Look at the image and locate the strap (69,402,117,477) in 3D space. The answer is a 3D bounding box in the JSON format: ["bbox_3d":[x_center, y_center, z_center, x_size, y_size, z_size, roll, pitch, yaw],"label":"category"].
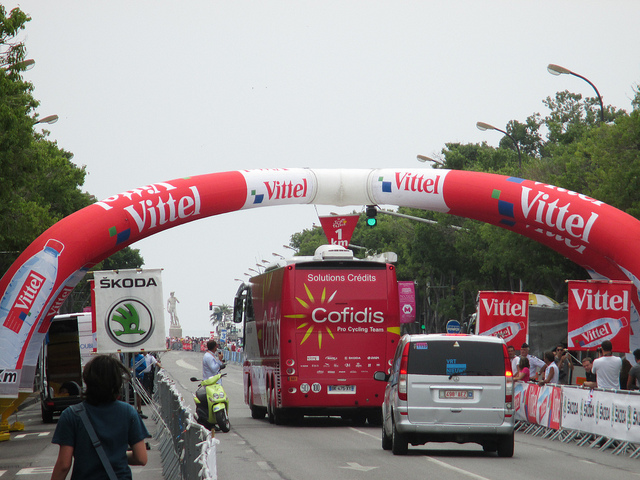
[{"bbox_3d":[-1.634,1.462,5.035,0.070,0.527,0.072,-17,-4,-21],"label":"strap"}]

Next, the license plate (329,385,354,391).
[{"bbox_3d":[0.589,4.020,18.878,0.661,0.153,0.074,1,-6,0],"label":"license plate"}]

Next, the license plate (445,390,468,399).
[{"bbox_3d":[2.536,2.885,12.971,0.423,0.161,0.034,1,-6,-3],"label":"license plate"}]

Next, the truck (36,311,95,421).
[{"bbox_3d":[-9.146,5.592,29.599,2.493,4.032,7.549,-7,-12,-4],"label":"truck"}]

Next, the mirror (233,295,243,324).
[{"bbox_3d":[-2.926,2.489,25.102,0.282,0.966,0.782,1,-6,-8],"label":"mirror"}]
